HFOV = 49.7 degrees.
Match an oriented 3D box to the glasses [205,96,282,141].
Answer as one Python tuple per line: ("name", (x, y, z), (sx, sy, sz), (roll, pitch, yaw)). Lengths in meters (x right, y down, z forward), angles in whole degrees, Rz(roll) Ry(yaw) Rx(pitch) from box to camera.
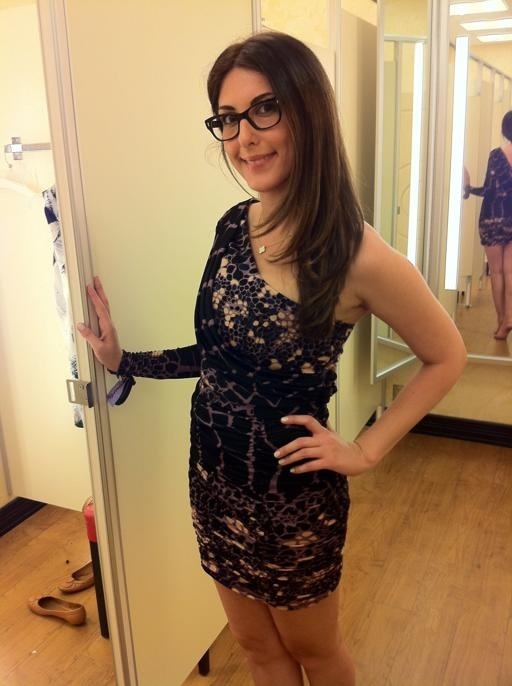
("glasses", (-0.003, -0.390, 0.933), (0.081, 0.025, 0.081), (0, 27, 35))
